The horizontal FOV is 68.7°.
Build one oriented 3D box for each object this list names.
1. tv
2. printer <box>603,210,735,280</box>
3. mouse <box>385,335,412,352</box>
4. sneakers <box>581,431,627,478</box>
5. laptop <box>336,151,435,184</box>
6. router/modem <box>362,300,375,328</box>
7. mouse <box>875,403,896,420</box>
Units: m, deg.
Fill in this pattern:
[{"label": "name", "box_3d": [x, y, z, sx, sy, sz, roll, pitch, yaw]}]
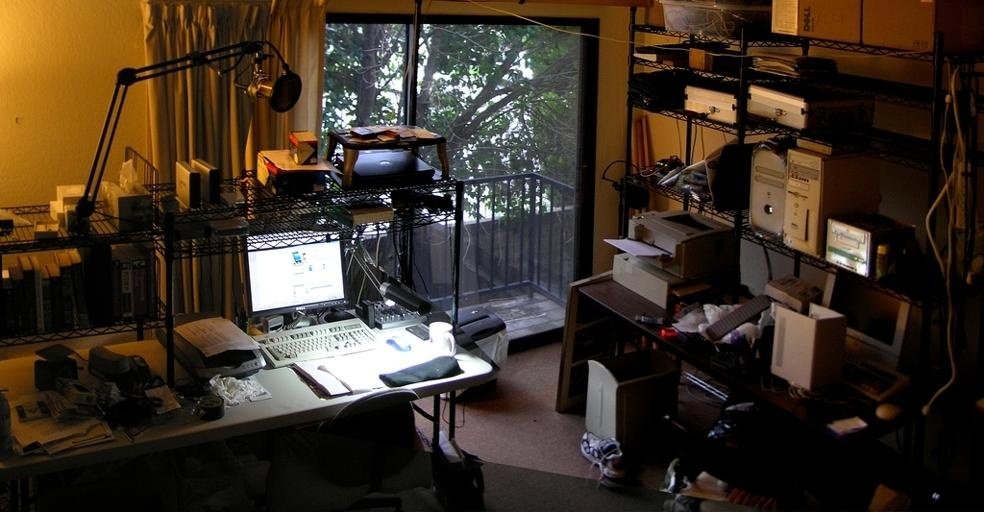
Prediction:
[{"label": "tv", "box_3d": [-1.328, 0.117, 4.818, 0.872, 0.589, 0.134, -4, 3, -21]}, {"label": "printer", "box_3d": [1.339, -0.083, 5.218, 0.759, 0.264, 0.539, -16, 28, -29]}, {"label": "mouse", "box_3d": [-0.619, 0.582, 4.804, 0.094, 0.029, 0.134, -11, 28, -36]}, {"label": "sneakers", "box_3d": [0.799, 1.416, 5.101, 0.149, 0.133, 0.373, -12, 22, -19]}, {"label": "laptop", "box_3d": [-0.706, -0.594, 4.786, 0.619, 0.228, 0.365, -7, 13, -12]}, {"label": "router/modem", "box_3d": [-0.849, 0.408, 4.963, 0.064, 0.165, 0.170, -11, 14, -34]}, {"label": "mouse", "box_3d": [2.363, 0.935, 4.296, 0.141, 0.099, 0.075, -3, 13, 9]}]
